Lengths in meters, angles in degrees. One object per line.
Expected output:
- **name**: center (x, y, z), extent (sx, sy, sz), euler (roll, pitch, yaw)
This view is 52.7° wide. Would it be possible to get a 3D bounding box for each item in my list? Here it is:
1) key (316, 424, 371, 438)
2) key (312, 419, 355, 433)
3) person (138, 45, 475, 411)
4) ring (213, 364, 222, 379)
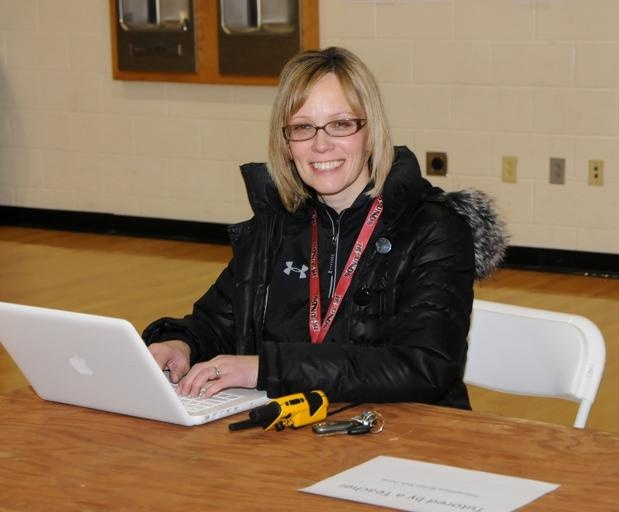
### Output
- **key**: center (0.061, 0.309, 1.125), extent (0.062, 0.011, 0.036), euler (-2, 1, -7)
- **key**: center (0.043, 0.307, 1.134), extent (0.054, 0.016, 0.028), euler (-5, 13, -15)
- **person**: center (0.072, -0.014, 1.823), extent (0.986, 0.909, 0.943), euler (1, -1, 39)
- **ring**: center (-0.200, 0.249, 1.348), extent (0.023, 0.023, 0.020), euler (0, 0, -15)
